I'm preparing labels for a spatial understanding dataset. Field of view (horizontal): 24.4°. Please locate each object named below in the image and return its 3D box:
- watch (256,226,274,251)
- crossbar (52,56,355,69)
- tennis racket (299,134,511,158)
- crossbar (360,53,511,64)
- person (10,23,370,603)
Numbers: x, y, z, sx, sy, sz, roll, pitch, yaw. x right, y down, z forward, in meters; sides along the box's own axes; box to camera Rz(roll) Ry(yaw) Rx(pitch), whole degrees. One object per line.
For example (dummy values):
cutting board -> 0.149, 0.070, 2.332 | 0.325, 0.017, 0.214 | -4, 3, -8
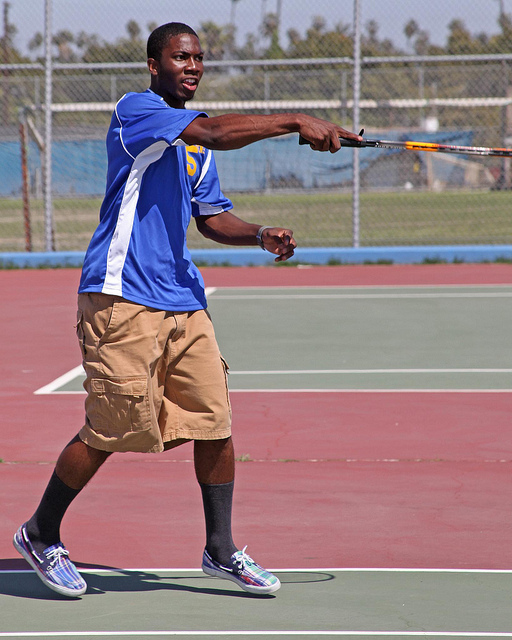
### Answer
watch -> 0.027, -0.319, 4.611 | 0.051, 0.085, 0.115 | -1, 11, 1
crossbar -> -0.532, -2.747, 12.760 | 3.396, 0.110, 1.060 | 2, 11, 16
tennis racket -> 0.735, -0.733, 5.069 | 0.478, 0.113, 1.383 | 4, 12, 27
crossbar -> 1.806, -2.642, 12.039 | 1.512, 0.078, 0.131 | -1, 11, 2
person -> -0.338, -0.030, 4.431 | 1.151, 2.095, 0.634 | -1, 12, 2
